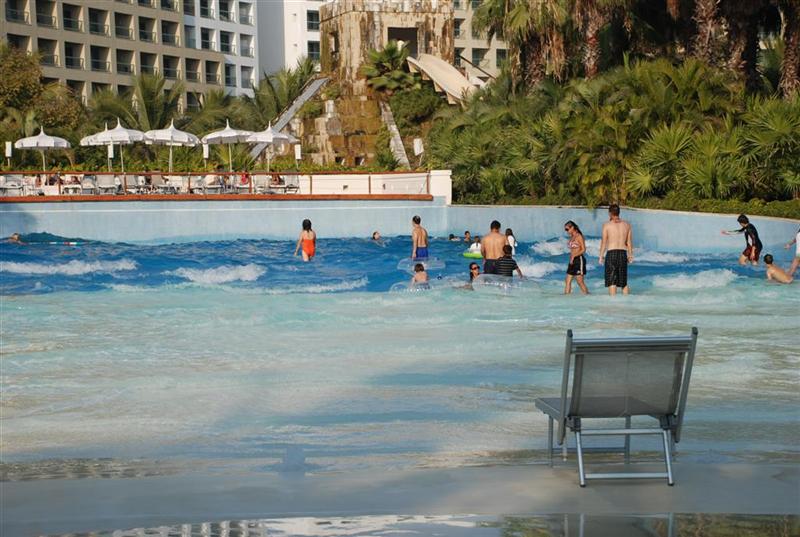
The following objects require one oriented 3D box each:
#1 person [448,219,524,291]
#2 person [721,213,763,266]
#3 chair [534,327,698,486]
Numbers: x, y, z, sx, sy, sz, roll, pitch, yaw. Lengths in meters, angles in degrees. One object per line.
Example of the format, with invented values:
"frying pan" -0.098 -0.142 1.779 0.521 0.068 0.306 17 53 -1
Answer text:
"person" 2.059 -0.316 25.280 1.217 1.477 0.608 -2 6 7
"person" 8.471 -0.761 27.713 0.895 1.195 1.365 -1 6 10
"chair" 3.074 1.995 16.899 1.826 2.217 2.885 0 0 -5
